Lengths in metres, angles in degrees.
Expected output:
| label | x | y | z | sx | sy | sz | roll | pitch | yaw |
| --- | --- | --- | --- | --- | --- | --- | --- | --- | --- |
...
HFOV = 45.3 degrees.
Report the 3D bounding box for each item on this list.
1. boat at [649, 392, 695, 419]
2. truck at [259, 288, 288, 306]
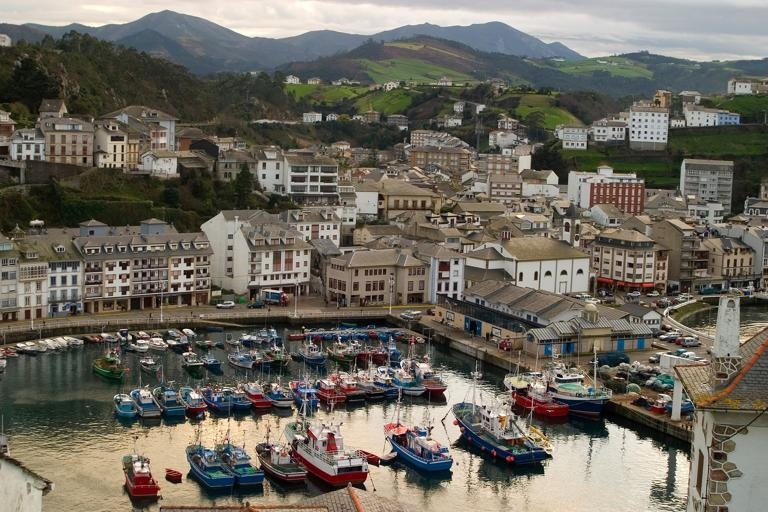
| label | x | y | z | sx | sy | sz | roll | pitch | yaw |
| --- | --- | --- | --- | --- | --- | --- | --- | --- | --- |
| boat | 15.213 | 7.899 | 49.109 | 2.132 | 0.778 | 1.787 | 1 | 4 | 14 |
| truck | -7.807 | 2.914 | 65.971 | 1.668 | 0.884 | 1.257 | 2 | 6 | 19 |
